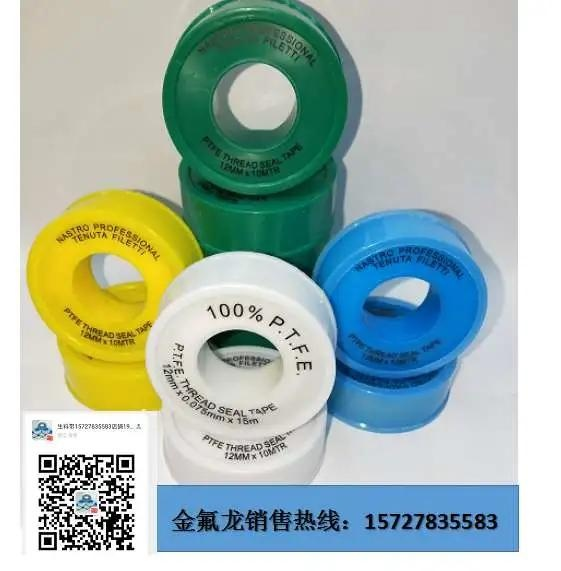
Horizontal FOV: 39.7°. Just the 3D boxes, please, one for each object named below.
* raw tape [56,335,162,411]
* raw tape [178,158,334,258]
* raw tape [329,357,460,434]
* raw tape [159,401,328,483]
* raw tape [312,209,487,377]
[{"bbox_3d":[-0.742,0.412,3.273,0.368,0.170,0.338,2,24,-2],"label":"raw tape"},{"bbox_3d":[-0.090,-0.270,3.208,0.480,0.450,0.428,-8,-39,7],"label":"raw tape"},{"bbox_3d":[0.486,0.510,3.402,0.407,0.142,0.374,-3,24,3],"label":"raw tape"},{"bbox_3d":[-0.186,0.638,3.193,0.468,0.113,0.438,1,30,-28],"label":"raw tape"},{"bbox_3d":[0.486,0.031,3.149,0.634,0.191,0.629,-34,-57,23],"label":"raw tape"}]
